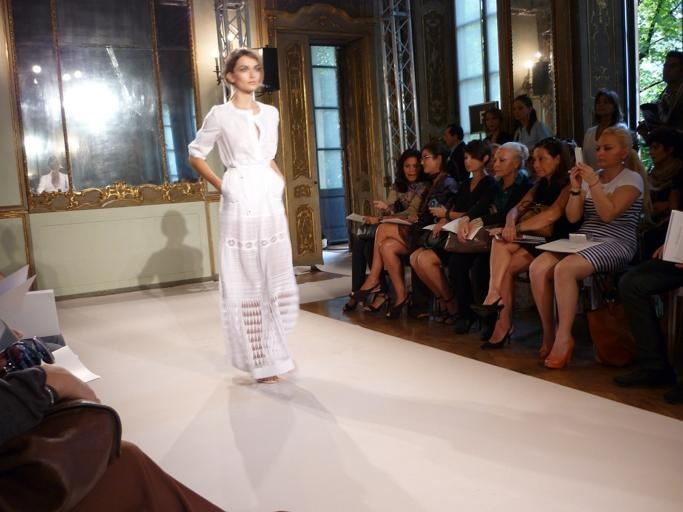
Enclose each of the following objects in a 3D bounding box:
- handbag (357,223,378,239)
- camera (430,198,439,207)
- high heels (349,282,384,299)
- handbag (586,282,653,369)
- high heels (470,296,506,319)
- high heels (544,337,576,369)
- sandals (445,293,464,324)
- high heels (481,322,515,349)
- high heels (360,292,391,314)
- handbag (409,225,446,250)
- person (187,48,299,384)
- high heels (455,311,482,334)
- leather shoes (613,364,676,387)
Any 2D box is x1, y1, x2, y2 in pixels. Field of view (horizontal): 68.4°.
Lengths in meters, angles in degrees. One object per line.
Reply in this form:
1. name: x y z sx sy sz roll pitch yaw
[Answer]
1. handbag: 0.237 -0.222 4.862 0.196 0.224 0.122 2 -11 29
2. camera: 0.805 -0.467 4.423 0.057 0.026 0.080 -20 37 4
3. high heels: 0.223 0.321 4.673 0.332 0.116 0.126 -6 -4 6
4. handbag: 1.664 0.423 3.002 0.374 0.579 0.244 -9 11 11
5. high heels: 1.041 0.374 3.533 0.240 0.126 0.134 10 -10 -20
6. high heels: 1.400 0.634 3.189 0.233 0.101 0.114 -40 14 -20
7. sandals: 0.933 0.441 4.180 0.073 0.245 0.093 -4 2 22
8. high heels: 1.150 0.585 3.630 0.326 0.164 0.114 -8 -6 -17
9. high heels: 0.312 0.444 4.719 0.125 0.147 0.364 -2 -7 20
10. handbag: 0.730 -0.150 4.219 0.208 0.223 0.085 -2 -28 43
11. person: -0.585 -0.196 3.090 0.542 2.053 0.290 -9 12 -15
12. high heels: 0.986 0.529 3.985 0.308 0.171 0.118 -5 -2 -45
13. leather shoes: 1.694 0.683 2.860 0.341 0.149 0.124 0 -1 2
